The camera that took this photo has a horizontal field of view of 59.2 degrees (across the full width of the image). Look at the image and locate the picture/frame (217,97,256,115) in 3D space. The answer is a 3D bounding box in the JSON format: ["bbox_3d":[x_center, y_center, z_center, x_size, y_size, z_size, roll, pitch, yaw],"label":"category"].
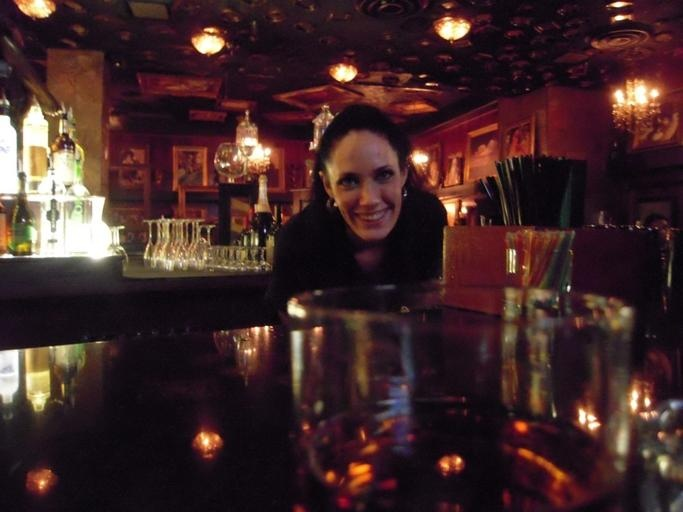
[{"bbox_3d":[-1.348,-1.875,7.578,0.289,0.034,0.256,1,-4,-37],"label":"picture/frame"}]

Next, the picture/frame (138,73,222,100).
[{"bbox_3d":[-1.835,-1.901,6.826,0.764,0.105,0.764,1,-6,-16],"label":"picture/frame"}]

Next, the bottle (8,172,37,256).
[{"bbox_3d":[-1.294,-0.168,2.417,0.103,0.317,0.298,-6,11,-24],"label":"bottle"}]

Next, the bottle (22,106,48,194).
[{"bbox_3d":[-1.424,-0.498,2.792,0.121,0.375,0.291,-7,11,-27],"label":"bottle"}]

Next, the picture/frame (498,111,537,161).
[{"bbox_3d":[2.122,-1.419,7.269,0.230,0.474,0.721,-4,10,-13],"label":"picture/frame"}]
